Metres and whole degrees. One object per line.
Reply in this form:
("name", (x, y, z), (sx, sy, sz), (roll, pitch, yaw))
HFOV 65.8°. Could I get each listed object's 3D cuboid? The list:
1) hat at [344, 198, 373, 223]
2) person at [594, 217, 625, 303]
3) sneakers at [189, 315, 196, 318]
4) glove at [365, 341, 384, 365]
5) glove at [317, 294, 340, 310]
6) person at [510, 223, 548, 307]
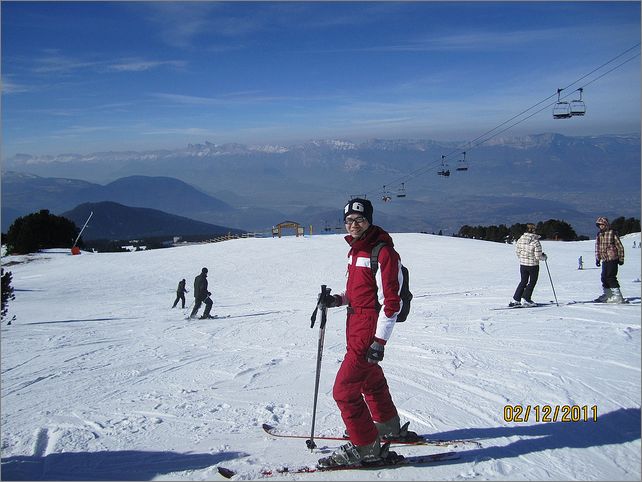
("hat", (0.638, -0.509, 7.757), (0.455, 0.323, 0.321), (20, -10, -20))
("person", (8.224, 0.591, 13.966), (0.790, 2.479, 1.157), (4, 15, 28))
("sneakers", (-4.691, 2.692, 17.841), (0.159, 0.137, 0.088), (2, -3, -15))
("glove", (0.810, 1.680, 7.412), (0.277, 0.431, 0.229), (1, 13, 17))
("glove", (0.132, 0.954, 7.907), (0.291, 0.104, 0.205), (2, 2, 26))
("person", (6.120, 0.711, 14.555), (0.879, 2.540, 1.191), (2, 14, 20))
